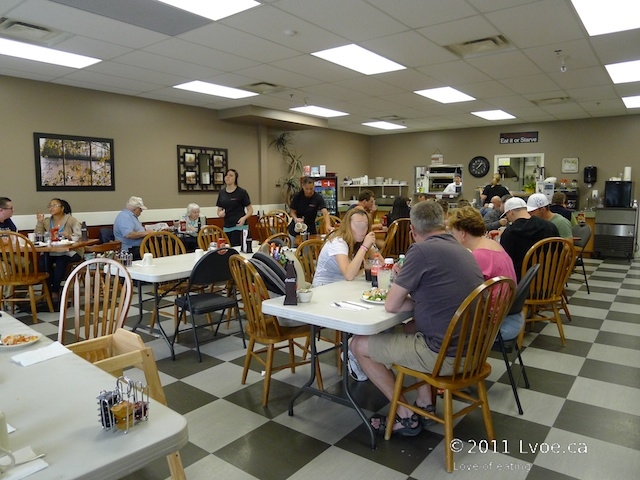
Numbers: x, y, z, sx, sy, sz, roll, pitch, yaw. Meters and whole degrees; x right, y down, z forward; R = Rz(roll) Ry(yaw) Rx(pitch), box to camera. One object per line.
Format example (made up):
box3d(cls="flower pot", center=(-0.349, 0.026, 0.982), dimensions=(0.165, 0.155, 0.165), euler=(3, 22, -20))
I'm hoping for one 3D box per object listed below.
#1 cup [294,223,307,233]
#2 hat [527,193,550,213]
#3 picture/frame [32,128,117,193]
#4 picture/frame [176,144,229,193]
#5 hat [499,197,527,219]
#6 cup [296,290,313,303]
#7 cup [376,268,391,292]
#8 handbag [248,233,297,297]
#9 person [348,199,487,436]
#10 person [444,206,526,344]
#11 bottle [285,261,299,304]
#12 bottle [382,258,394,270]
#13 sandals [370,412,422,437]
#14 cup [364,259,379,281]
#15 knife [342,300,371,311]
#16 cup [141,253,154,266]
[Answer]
box3d(cls="cup", center=(-0.243, -0.161, 5.620), dimensions=(0.111, 0.154, 0.224), euler=(-2, -7, 1))
box3d(cls="hat", center=(2.488, -0.416, 4.930), dimensions=(0.179, 0.142, 0.267), euler=(-18, 9, -26))
box3d(cls="picture/frame", center=(-3.931, -1.269, 6.825), dimensions=(0.041, 0.900, 1.061), euler=(5, 7, 41))
box3d(cls="picture/frame", center=(-2.267, -1.400, 8.540), dimensions=(1.012, 0.838, 0.063), euler=(3, 10, 11))
box3d(cls="hat", center=(2.126, -0.359, 4.721), dimensions=(0.212, 0.163, 0.307), euler=(-1, -1, -2))
box3d(cls="cup", center=(-0.095, 0.366, 2.815), dimensions=(0.085, 0.061, 0.067), euler=(3, -6, -43))
box3d(cls="cup", center=(0.448, 0.285, 3.083), dimensions=(0.111, 0.183, 0.115), euler=(1, -1, 0))
box3d(cls="handbag", center=(-0.296, 0.167, 3.295), dimensions=(0.157, 0.435, 0.337), euler=(-25, 7, -23))
box3d(cls="person", center=(0.615, 0.506, 2.768), dimensions=(0.755, 1.486, 0.448), euler=(5, 12, 29))
box3d(cls="person", center=(1.253, 0.214, 3.478), dimensions=(0.530, 0.996, 0.702), euler=(-19, 16, -39))
box3d(cls="bottle", center=(-0.188, 0.269, 2.802), dimensions=(0.087, 0.273, 0.108), euler=(-2, 10, -6))
box3d(cls="bottle", center=(0.565, 0.191, 3.536), dimensions=(0.092, 0.092, 0.095), euler=(4, 3, -2))
box3d(cls="sandals", center=(0.494, 1.155, 2.817), dimensions=(0.286, 0.108, 0.156), euler=(3, 3, 24))
box3d(cls="cup", center=(0.396, 0.229, 3.415), dimensions=(0.134, 0.162, 0.145), euler=(0, -1, 0))
box3d(cls="knife", center=(0.236, 0.416, 2.762), dimensions=(0.030, 0.030, 0.277), euler=(-35, 20, -29))
box3d(cls="cup", center=(-1.598, 0.184, 4.029), dimensions=(0.114, 0.126, 0.091), euler=(1, 4, 2))
